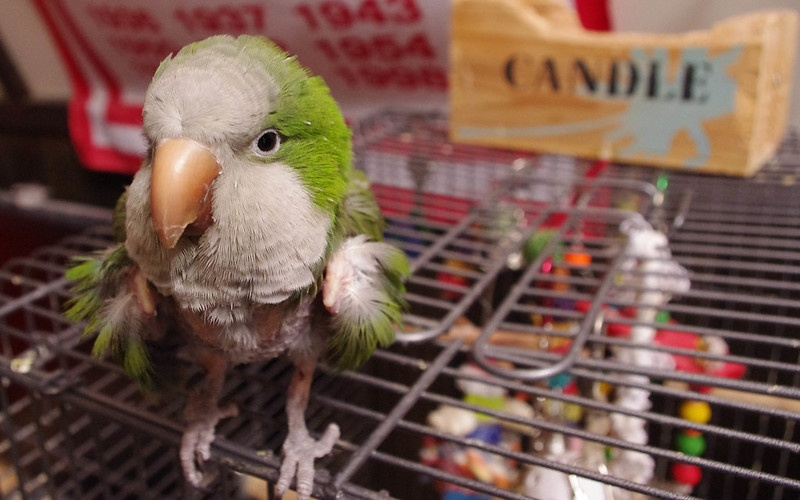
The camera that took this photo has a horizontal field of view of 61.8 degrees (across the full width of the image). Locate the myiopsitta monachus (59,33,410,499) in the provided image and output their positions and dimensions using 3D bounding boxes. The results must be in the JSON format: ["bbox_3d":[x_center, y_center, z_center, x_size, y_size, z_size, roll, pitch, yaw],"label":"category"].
[{"bbox_3d":[-0.181,0.007,0.700,0.339,0.435,0.218,7,26,18],"label":"myiopsitta monachus"}]
